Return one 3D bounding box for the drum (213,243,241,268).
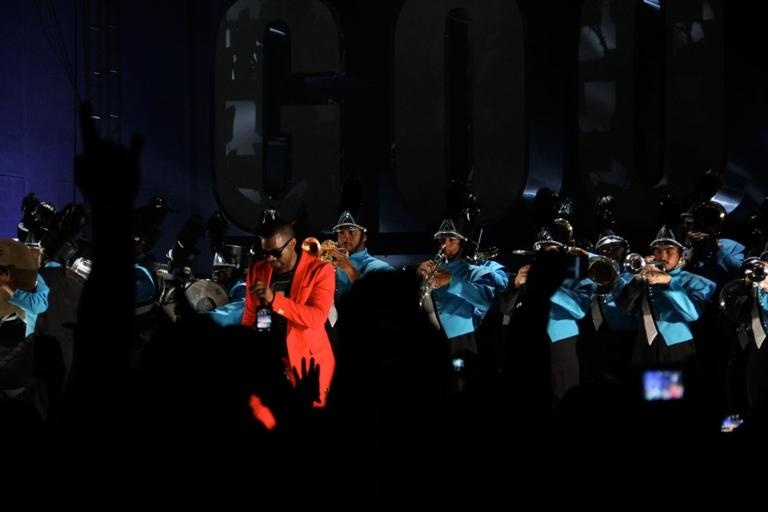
[{"bbox_3d":[-1.364,0.004,5.839,0.220,0.198,0.188,12,-1,27],"label":"drum"}]

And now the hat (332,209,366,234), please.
[{"bbox_3d":[-0.300,-0.314,5.719,0.297,0.186,0.048,0,5,-4],"label":"hat"}]

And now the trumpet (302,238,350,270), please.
[{"bbox_3d":[-0.478,-0.061,5.739,0.373,0.202,0.215,24,14,13],"label":"trumpet"}]

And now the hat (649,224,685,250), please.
[{"bbox_3d":[2.400,-0.174,5.493,0.287,0.191,0.070,0,5,-6],"label":"hat"}]

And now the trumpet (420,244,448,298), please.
[{"bbox_3d":[0.429,0.134,5.681,0.149,0.495,0.176,31,-12,-31],"label":"trumpet"}]

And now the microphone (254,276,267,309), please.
[{"bbox_3d":[-1.000,0.317,5.454,0.082,0.225,0.156,-1,12,-32],"label":"microphone"}]

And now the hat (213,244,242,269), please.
[{"bbox_3d":[-1.356,0.005,5.837,0.226,0.203,0.193,12,0,22],"label":"hat"}]

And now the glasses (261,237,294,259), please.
[{"bbox_3d":[-0.929,-0.048,5.615,0.171,0.055,0.185,-12,23,44],"label":"glasses"}]

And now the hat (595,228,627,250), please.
[{"bbox_3d":[1.920,-0.153,5.519,0.204,0.107,0.163,1,-5,-26],"label":"hat"}]
